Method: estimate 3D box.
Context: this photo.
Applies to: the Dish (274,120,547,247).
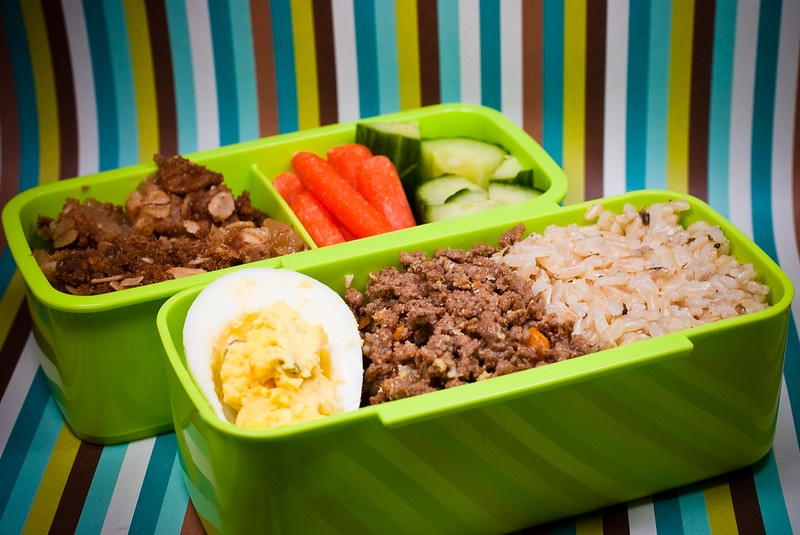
[{"bbox_3d":[0.011,-0.354,2.879,0.830,0.279,0.592,-11,41,-9],"label":"Dish"}]
